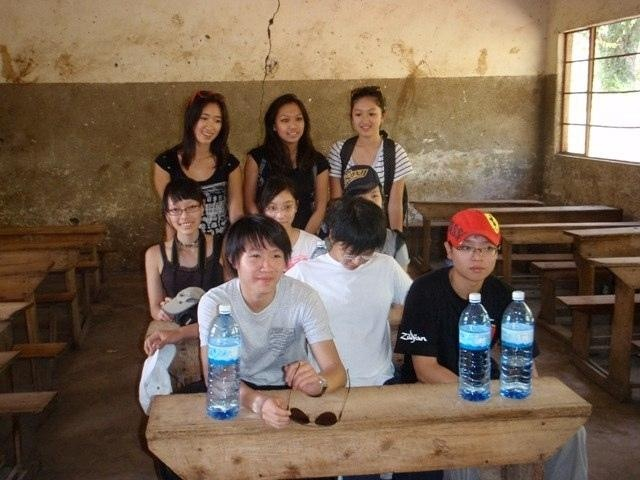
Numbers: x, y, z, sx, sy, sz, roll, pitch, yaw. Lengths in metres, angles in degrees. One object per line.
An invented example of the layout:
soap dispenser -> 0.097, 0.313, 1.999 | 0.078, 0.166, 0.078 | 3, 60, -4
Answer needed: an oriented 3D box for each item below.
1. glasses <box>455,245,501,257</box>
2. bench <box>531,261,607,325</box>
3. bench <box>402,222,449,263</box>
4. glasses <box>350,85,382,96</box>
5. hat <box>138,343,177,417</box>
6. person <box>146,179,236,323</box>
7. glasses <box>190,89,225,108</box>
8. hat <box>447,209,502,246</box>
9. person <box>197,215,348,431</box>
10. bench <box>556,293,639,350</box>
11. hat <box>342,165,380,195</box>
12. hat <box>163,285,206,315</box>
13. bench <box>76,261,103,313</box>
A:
glasses -> 0.772, 0.048, 2.624 | 0.211, 0.054, 0.068 | -3, 5, -9
bench -> 2.443, 0.481, 5.373 | 0.545, 0.529, 0.369 | -13, 1, -11
bench -> 1.468, 0.046, 7.391 | 0.700, 0.684, 0.639 | -1, 11, -6
glasses -> 0.359, -1.159, 4.265 | 0.187, 0.075, 0.201 | -1, 13, -4
hat -> -0.773, 0.646, 2.591 | 0.173, 0.343, 0.200 | 2, -33, -3
person -> -0.803, 0.092, 3.359 | 0.578, 0.955, 0.539 | -7, 0, -35
glasses -> -0.833, -1.046, 4.001 | 0.251, 0.134, 0.218 | -3, 5, -11
hat -> 0.774, -0.061, 2.718 | 0.270, 0.209, 0.383 | 3, -6, 9
person -> -0.246, 0.390, 2.490 | 0.617, 0.922, 0.759 | -5, 12, -31
bench -> 2.332, 0.690, 4.490 | 0.536, 0.272, 0.196 | -1, 2, -3
hat -> 0.286, -0.452, 3.854 | 0.279, 0.205, 0.384 | -13, 11, 2
hat -> -0.761, 0.340, 3.029 | 0.225, 0.074, 0.147 | -20, 26, -20
bench -> -2.701, 0.585, 6.450 | 0.438, 0.492, 0.533 | -2, -4, -21
